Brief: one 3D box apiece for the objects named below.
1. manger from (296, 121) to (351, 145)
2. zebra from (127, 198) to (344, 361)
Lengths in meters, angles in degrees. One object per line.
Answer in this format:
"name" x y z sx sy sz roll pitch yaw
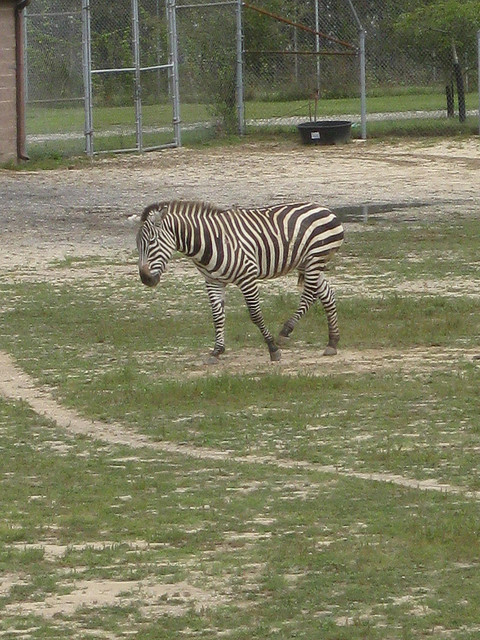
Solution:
"manger" 1.332 -2.937 25.463 0.835 0.349 0.717 -2 7 2
"zebra" 0.026 -0.311 11.996 1.689 1.227 0.476 -5 10 -27
